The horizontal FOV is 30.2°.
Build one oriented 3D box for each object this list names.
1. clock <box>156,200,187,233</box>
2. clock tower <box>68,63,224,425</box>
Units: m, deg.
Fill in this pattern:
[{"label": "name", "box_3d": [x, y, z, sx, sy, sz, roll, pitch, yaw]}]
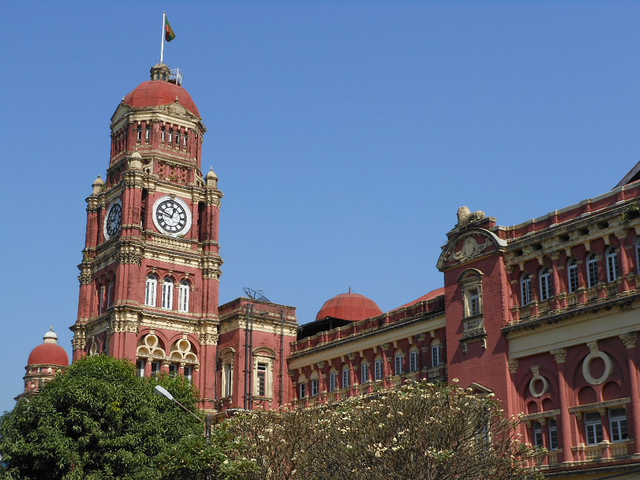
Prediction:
[{"label": "clock", "box_3d": [-12.146, -1.747, 95.455, 2.121, 2.112, 0.156, -32, -9, -30]}, {"label": "clock tower", "box_3d": [-13.331, -0.089, 95.166, 10.570, 28.641, 5.788, 1, -24, -5]}]
